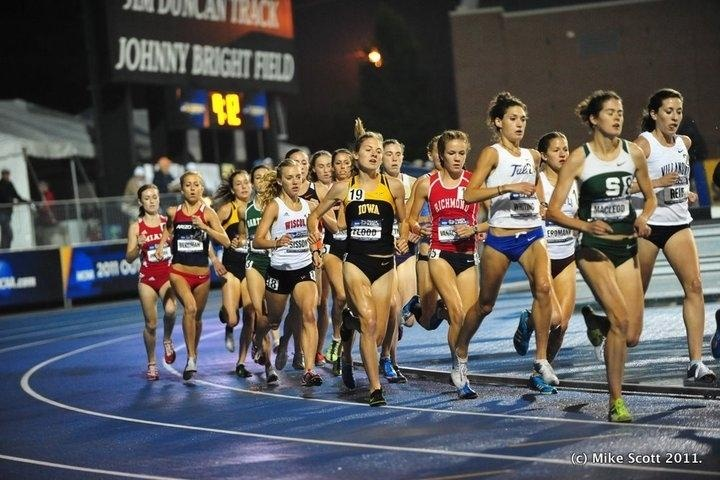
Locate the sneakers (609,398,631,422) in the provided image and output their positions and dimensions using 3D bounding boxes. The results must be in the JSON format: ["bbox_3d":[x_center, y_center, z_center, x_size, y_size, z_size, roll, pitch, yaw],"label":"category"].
[{"bbox_3d":[2.692,1.775,7.494,0.141,0.151,0.318,-2,-12,4],"label":"sneakers"}]

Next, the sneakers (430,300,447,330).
[{"bbox_3d":[1.168,1.125,10.968,0.171,0.228,0.525,7,-31,-2],"label":"sneakers"}]

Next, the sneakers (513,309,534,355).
[{"bbox_3d":[2.134,1.215,9.436,0.224,0.692,0.300,1,33,3],"label":"sneakers"}]

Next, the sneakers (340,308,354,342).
[{"bbox_3d":[-0.145,1.112,9.135,0.148,0.445,0.183,-15,25,-43],"label":"sneakers"}]
